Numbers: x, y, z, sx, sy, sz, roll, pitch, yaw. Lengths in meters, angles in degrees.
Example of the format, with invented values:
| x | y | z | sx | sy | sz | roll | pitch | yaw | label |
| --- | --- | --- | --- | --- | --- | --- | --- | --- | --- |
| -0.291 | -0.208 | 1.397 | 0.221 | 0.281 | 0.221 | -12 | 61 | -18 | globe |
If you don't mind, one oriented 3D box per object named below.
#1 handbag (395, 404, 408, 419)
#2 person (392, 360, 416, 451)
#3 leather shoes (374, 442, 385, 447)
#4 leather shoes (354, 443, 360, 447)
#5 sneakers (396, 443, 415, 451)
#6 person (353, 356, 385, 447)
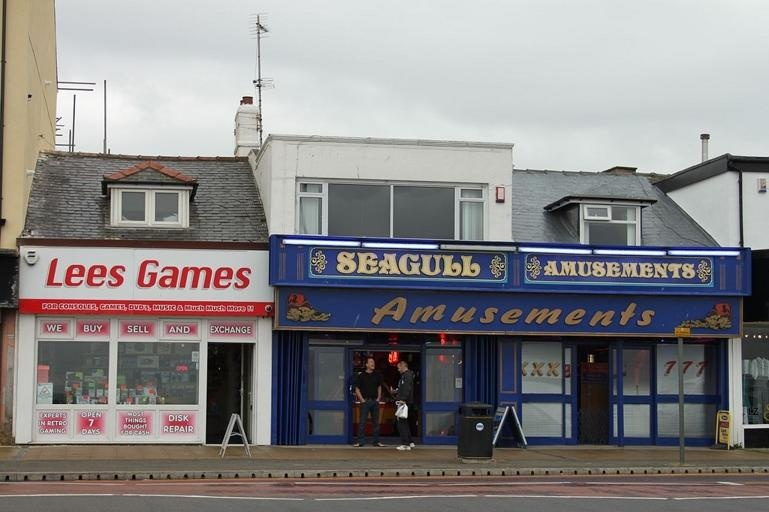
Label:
| x | y | z | sx | sy | sz | roll | pitch | yaw | label |
| --- | --- | --- | --- | --- | --- | --- | --- | --- | --- |
| 0.542 | 4.551 | 46.844 | 0.277 | 0.438 | 0.252 | 1 | -8 | -6 | handbag |
| 0.579 | 4.374 | 47.369 | 0.843 | 2.413 | 1.030 | -1 | -6 | 2 | person |
| -0.118 | 5.645 | 47.710 | 0.329 | 0.105 | 0.100 | -1 | 3 | 3 | leather shoes |
| -0.792 | 5.628 | 47.456 | 0.154 | 0.053 | 0.068 | 0 | -2 | 45 | leather shoes |
| 0.643 | 5.637 | 46.940 | 0.501 | 0.172 | 0.178 | 1 | 0 | 6 | sneakers |
| -0.433 | 4.349 | 47.834 | 0.834 | 2.699 | 0.982 | -1 | -8 | 2 | person |
